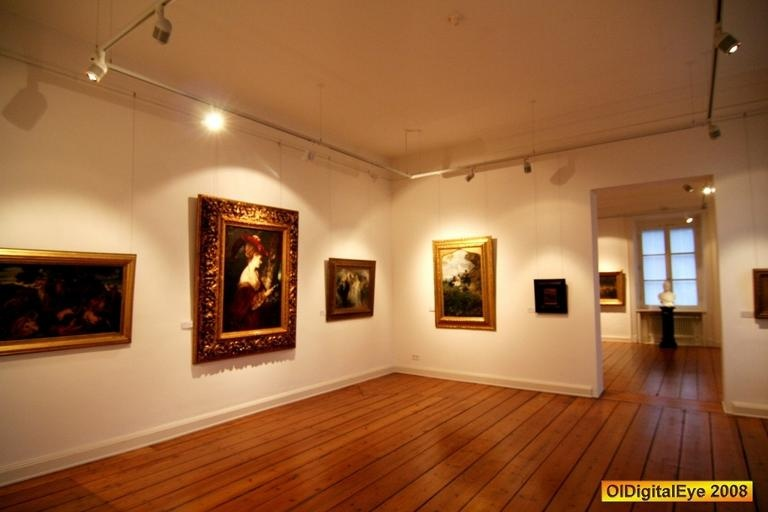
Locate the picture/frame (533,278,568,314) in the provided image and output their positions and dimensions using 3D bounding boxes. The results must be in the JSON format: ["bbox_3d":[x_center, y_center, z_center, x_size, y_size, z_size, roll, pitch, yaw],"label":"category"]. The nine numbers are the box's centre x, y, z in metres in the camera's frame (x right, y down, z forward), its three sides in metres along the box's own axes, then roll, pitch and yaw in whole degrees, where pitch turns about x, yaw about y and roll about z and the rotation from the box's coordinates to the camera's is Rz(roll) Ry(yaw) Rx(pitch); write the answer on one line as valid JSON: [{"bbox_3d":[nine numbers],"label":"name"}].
[{"bbox_3d":[3.835,0.901,11.225,0.787,0.930,0.095,-2,-4,34],"label":"picture/frame"}]

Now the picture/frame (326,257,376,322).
[{"bbox_3d":[-0.780,0.788,12.099,1.416,1.445,0.110,-3,-8,35],"label":"picture/frame"}]
